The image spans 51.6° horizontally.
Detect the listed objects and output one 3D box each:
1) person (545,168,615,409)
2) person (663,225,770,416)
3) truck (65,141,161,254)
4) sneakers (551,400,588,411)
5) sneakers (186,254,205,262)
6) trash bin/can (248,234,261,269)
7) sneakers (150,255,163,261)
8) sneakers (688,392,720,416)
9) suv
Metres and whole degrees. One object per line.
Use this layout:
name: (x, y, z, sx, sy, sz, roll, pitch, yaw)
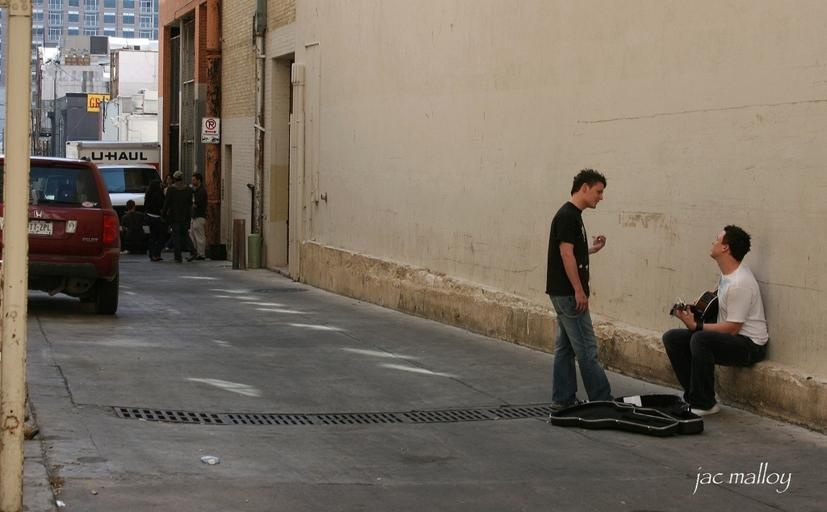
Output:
person: (1.775, 0.369, 9.080, 0.699, 2.538, 0.413, 4, 6, 13)
person: (3.227, 0.671, 9.006, 1.070, 1.980, 0.574, 4, 7, 15)
truck: (-9.902, -2.519, 29.553, 2.638, 3.225, 5.574, -3, 16, -10)
sneakers: (1.643, 1.576, 8.980, 0.293, 0.119, 0.101, -10, 13, 0)
sneakers: (-6.360, 0.076, 24.993, 0.238, 0.205, 0.616, 1, -1, 26)
trash bin/can: (-4.196, -0.123, 22.615, 0.365, 0.866, 0.355, 1, 7, -15)
sneakers: (-7.294, 0.071, 24.314, 0.132, 0.147, 0.230, 1, 4, 34)
sneakers: (3.128, 1.555, 9.058, 0.509, 0.203, 0.185, 0, 4, -41)
suv: (-5.341, -0.343, 12.579, 1.819, 1.790, 3.588, 0, 7, -16)
